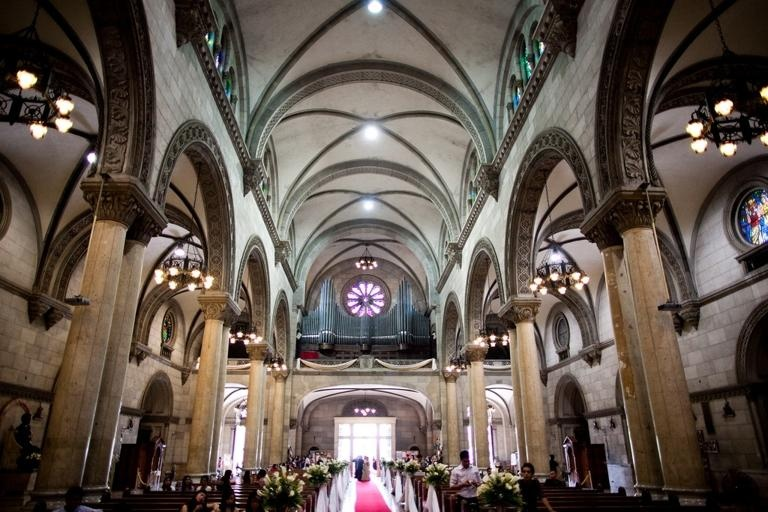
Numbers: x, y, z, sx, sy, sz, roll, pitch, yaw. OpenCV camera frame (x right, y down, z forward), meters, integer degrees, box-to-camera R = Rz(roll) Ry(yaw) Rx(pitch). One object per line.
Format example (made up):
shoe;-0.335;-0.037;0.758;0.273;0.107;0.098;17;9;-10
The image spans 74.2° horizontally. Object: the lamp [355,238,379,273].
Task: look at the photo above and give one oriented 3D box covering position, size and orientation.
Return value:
lamp;-1.209;0.399;34.604;1.543;1.876;1.668;8;-56;-6
